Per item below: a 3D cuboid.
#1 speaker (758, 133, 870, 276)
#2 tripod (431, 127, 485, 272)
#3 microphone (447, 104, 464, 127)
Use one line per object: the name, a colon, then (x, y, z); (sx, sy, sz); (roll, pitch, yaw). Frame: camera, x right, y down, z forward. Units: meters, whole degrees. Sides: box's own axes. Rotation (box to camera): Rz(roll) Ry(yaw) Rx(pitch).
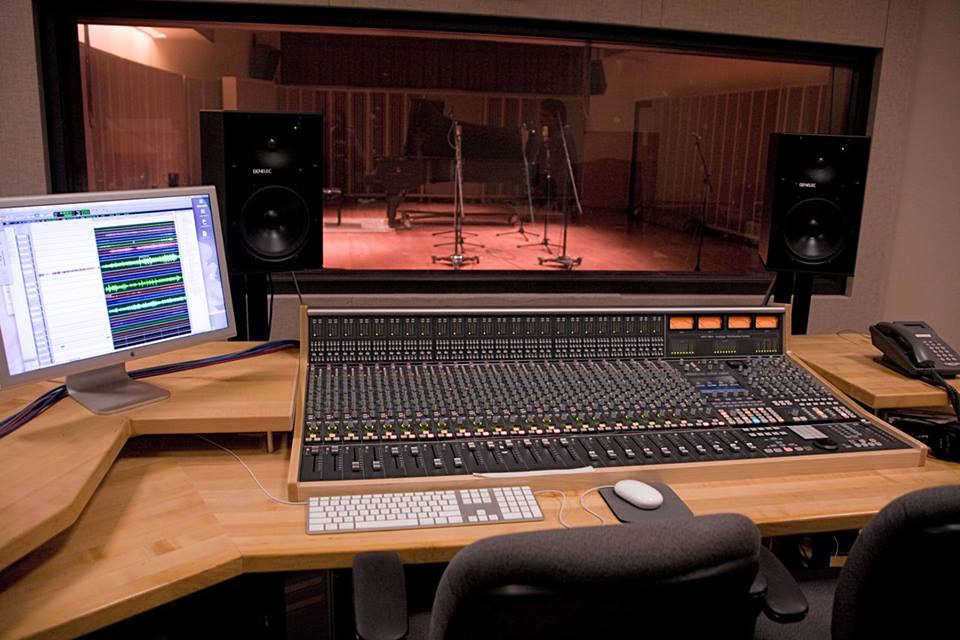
speaker: (1.338, -0.459, 2.715); (0.382, 0.556, 0.149); (2, 17, 13)
tripod: (-0.162, -0.678, 3.717); (0.263, 0.774, 0.200); (-8, 17, -20)
microphone: (-0.133, -1.092, 3.631); (0.109, 0.092, 0.025); (2, 8, 7)
